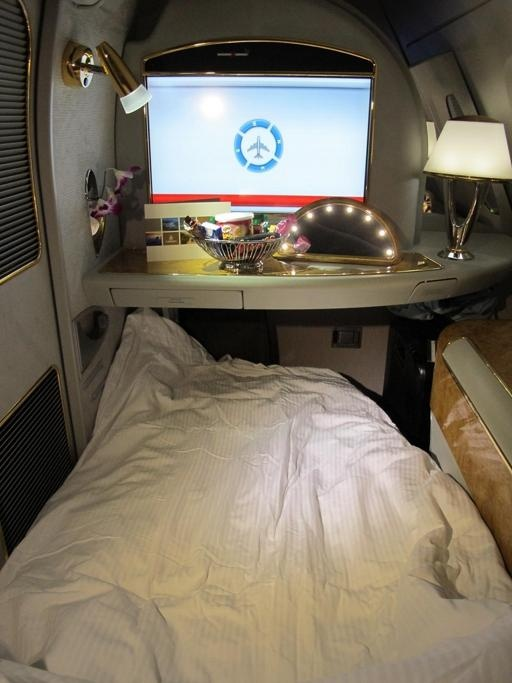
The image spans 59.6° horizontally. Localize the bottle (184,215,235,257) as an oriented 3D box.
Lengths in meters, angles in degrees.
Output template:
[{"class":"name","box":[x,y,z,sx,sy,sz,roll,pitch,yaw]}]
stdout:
[{"class":"bottle","box":[-0.125,-0.274,1.201,0.136,0.096,0.067,12,17,21]}]
